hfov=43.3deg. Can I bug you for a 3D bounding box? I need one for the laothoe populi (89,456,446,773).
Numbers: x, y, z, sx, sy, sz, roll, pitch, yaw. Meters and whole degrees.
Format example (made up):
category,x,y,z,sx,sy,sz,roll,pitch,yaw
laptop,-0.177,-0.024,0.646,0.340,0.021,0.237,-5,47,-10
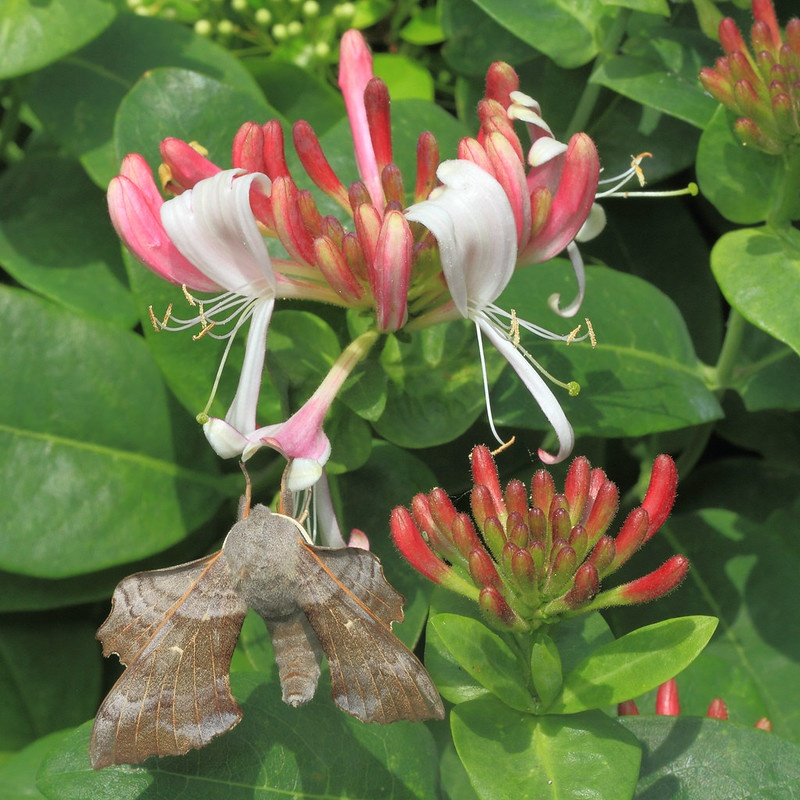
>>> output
category,x,y,z,sx,sy,sz,roll,pitch,yaw
laothoe populi,-0.242,0.371,1.689,0.583,0.203,0.511,-4,83,10
